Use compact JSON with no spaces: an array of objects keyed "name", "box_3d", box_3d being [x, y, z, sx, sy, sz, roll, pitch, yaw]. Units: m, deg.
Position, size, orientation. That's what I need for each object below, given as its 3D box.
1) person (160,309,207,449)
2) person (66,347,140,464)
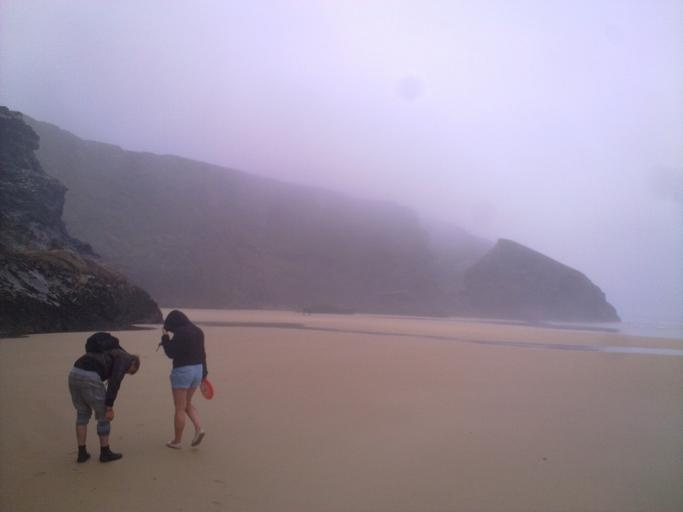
[{"name":"person","box_3d":[-2.375,1.853,8.322,0.640,2.060,0.511,0,6,-15]},{"name":"person","box_3d":[-3.350,2.117,7.799,0.870,1.569,0.355,-2,7,-30]}]
